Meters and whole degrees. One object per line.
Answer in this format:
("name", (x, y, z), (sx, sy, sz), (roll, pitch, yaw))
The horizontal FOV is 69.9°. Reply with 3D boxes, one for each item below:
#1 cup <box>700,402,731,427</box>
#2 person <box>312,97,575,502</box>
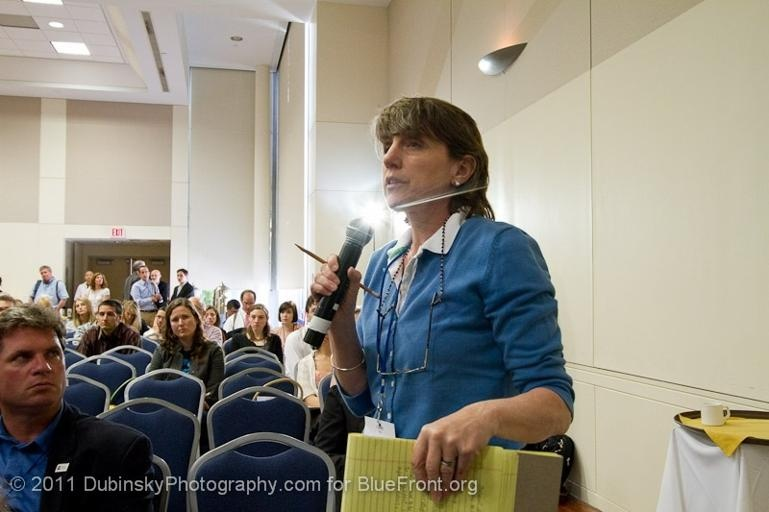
("cup", (1.770, 0.857, 2.959), (0.153, 0.112, 0.099), (3, -8, -13))
("person", (0.163, 0.081, 1.736), (0.766, 1.218, 0.356), (-2, -6, 32))
